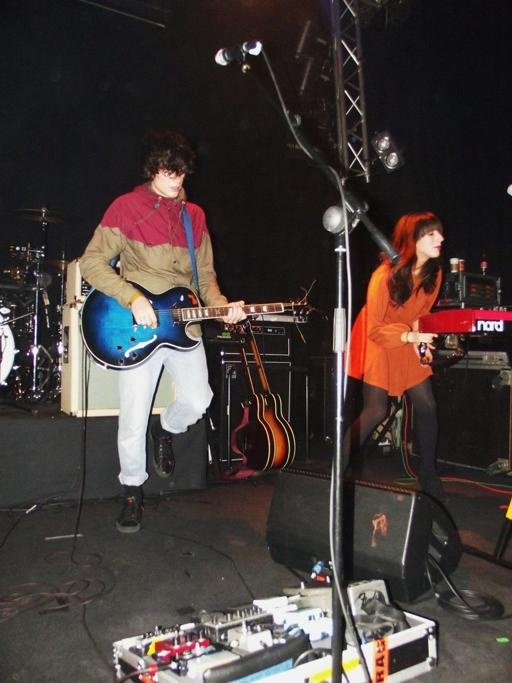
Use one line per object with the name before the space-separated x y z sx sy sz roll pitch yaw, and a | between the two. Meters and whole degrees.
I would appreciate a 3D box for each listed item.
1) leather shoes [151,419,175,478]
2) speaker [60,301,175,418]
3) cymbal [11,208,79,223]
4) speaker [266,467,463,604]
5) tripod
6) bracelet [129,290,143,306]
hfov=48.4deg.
leather shoes | -0.463 0.558 2.958 0.115 0.308 0.119 -5 0 -37
speaker | -0.655 0.092 2.724 0.644 0.628 0.241 1 -2 -39
cymbal | -2.170 -1.309 5.939 0.300 0.069 0.298 -2 -5 -7
speaker | 0.348 0.497 1.859 0.528 0.376 0.419 0 12 42
tripod | -2.176 -0.261 5.603 0.528 2.225 0.519 1 -41 -18
bracelet | -0.514 -0.189 2.427 0.063 0.042 0.015 -37 -16 -6
